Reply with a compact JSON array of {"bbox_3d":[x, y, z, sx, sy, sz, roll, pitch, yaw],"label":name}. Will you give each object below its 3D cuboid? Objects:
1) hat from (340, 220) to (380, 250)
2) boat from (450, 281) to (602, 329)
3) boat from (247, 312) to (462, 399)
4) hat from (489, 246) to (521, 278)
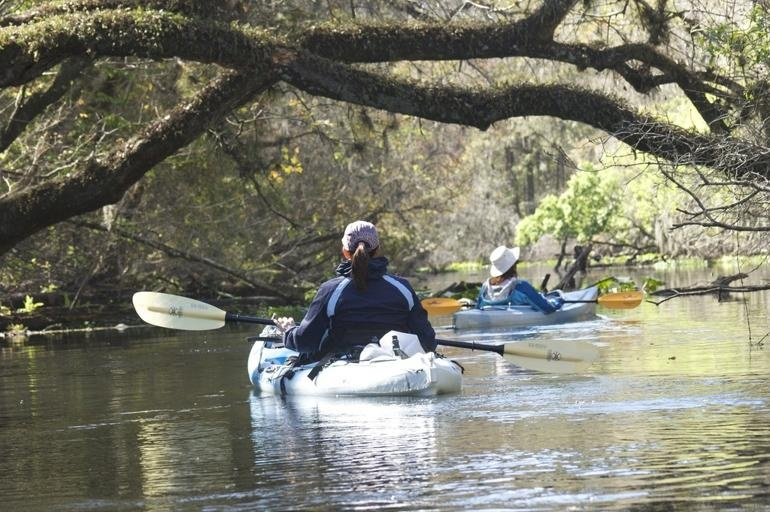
[{"bbox_3d":[-0.369,-0.301,21.640,0.506,0.467,0.462,-9,11,-35],"label":"hat"},{"bbox_3d":[3.201,1.201,29.341,3.487,0.606,1.126,-2,-2,-41],"label":"boat"},{"bbox_3d":[-0.619,1.614,22.061,2.646,0.745,1.402,-4,-3,38],"label":"boat"},{"bbox_3d":[2.412,0.122,28.299,0.533,0.738,0.967,-2,9,5],"label":"hat"}]
